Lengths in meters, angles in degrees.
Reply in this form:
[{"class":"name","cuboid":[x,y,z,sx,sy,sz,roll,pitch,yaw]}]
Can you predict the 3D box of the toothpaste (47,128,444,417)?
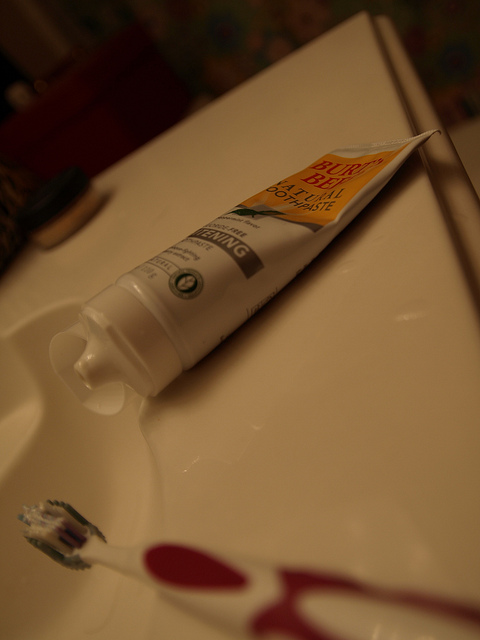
[{"class":"toothpaste","cuboid":[0.047,-0.055,0.430,0.350,0.078,0.121,-34,51,-22]}]
